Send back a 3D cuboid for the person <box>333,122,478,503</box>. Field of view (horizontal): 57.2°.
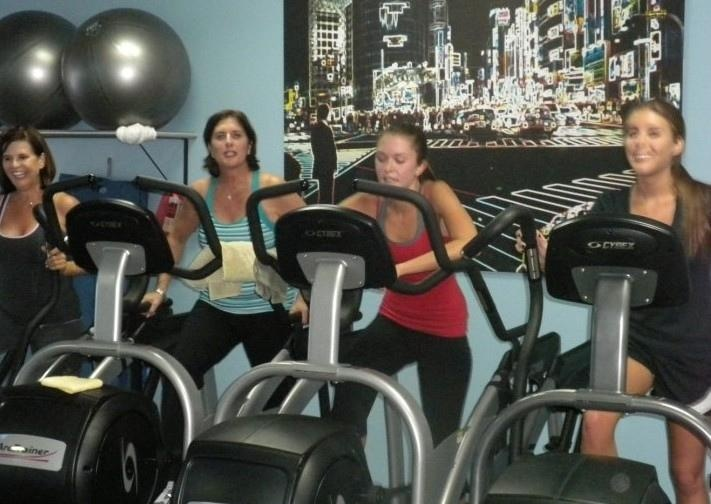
[{"bbox_3d":[0.211,0.114,2.514,0.482,1.186,0.640,0,11,11],"label":"person"}]

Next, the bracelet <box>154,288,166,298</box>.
[{"bbox_3d":[-0.824,0.168,2.752,0.039,0.040,0.028,-8,19,24],"label":"bracelet"}]
